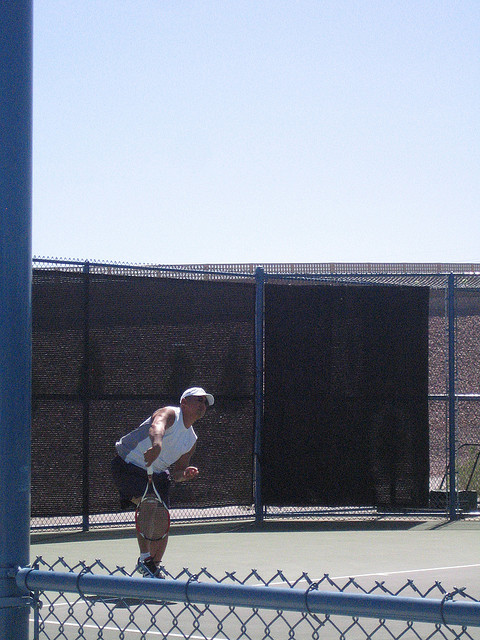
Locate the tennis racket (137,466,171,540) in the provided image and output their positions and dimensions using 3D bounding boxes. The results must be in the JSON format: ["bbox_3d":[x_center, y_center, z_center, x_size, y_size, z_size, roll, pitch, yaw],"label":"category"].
[{"bbox_3d":[-0.582,1.151,8.094,0.150,0.596,0.023,-1,-10,-6],"label":"tennis racket"}]

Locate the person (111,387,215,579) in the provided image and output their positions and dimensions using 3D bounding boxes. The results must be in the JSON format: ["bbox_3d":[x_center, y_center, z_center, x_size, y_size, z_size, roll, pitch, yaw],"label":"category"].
[{"bbox_3d":[-0.649,1.266,9.690,0.920,1.612,0.723,-25,-36,38],"label":"person"}]
